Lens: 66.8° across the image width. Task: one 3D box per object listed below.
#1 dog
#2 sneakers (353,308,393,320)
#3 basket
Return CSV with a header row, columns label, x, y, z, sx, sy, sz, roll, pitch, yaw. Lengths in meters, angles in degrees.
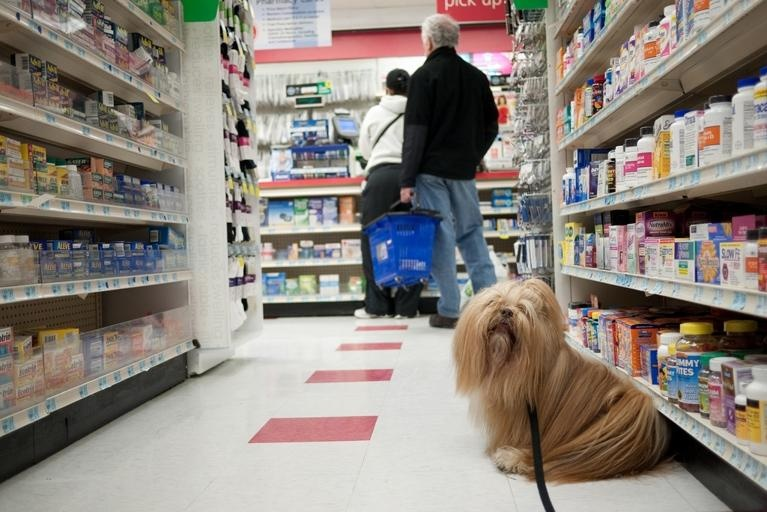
label,x,y,z,sx,sy,sz,roll,pitch,yaw
dog,0.794,0.514,2.647,0.892,0.832,0.704,-1,-1,11
sneakers,-0.109,0.654,6.463,0.430,0.180,0.151,4,-5,9
basket,0.132,-0.075,4.466,0.469,0.581,0.649,1,-11,-17
